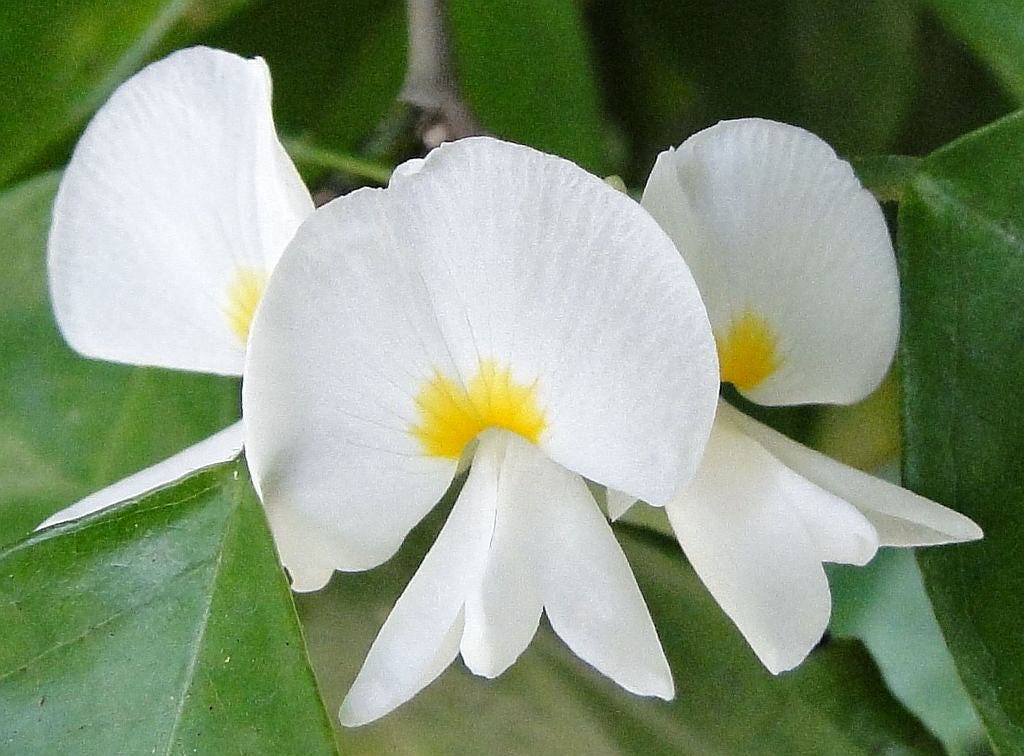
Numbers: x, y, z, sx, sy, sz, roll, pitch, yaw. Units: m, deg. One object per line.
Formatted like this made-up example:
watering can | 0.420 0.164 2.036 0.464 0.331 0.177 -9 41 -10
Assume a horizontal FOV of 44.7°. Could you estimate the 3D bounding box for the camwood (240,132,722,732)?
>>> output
camwood | -0.014 0.029 0.607 0.229 0.146 0.228 -5 68 4
